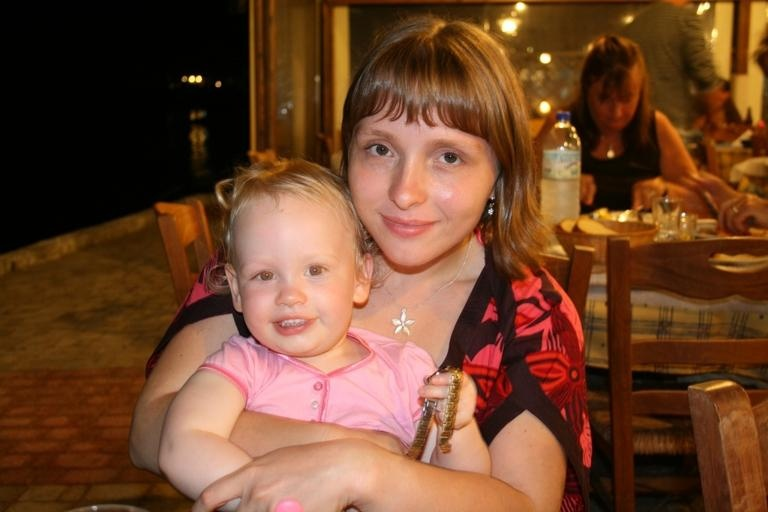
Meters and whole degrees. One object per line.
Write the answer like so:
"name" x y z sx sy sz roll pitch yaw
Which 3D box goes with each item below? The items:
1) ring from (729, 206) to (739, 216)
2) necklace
"ring" 1.528 -0.194 2.903 0.040 0.040 0.010 -1 -12 18
"necklace" 0.122 0.081 1.884 0.228 0.317 0.094 16 -11 21
